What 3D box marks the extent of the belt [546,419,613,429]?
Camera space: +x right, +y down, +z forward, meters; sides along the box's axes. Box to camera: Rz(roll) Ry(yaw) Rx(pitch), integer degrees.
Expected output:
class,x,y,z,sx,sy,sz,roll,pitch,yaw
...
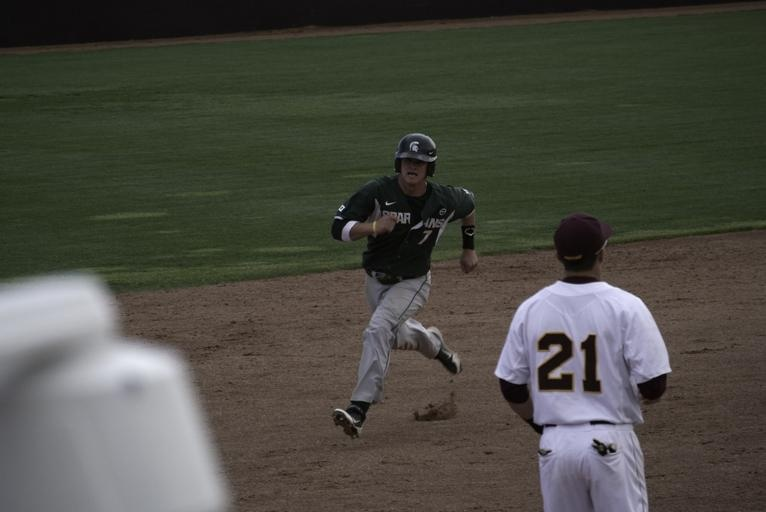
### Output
class,x,y,z,sx,sy,sz,roll,pitch,yaw
belt,2.744,2.365,21.899,0.962,0.177,0.090,-8,59,11
